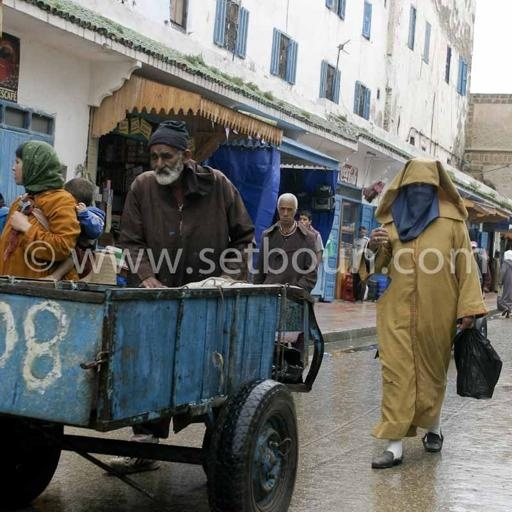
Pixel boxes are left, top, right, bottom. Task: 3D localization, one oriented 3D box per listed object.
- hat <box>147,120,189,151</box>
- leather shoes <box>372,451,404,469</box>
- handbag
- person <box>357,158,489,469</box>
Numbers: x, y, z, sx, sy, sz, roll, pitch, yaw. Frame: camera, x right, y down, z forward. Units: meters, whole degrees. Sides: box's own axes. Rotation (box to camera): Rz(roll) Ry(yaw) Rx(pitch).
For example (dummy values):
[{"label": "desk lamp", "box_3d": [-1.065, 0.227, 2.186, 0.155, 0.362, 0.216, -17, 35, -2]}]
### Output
[{"label": "hat", "box_3d": [-0.480, -0.667, 3.733, 0.155, 0.192, 0.181, 7, -15, -14]}, {"label": "leather shoes", "box_3d": [0.845, 1.315, 4.325, 0.080, 0.107, 0.224, -4, -11, 40]}, {"label": "handbag", "box_3d": [1.513, 0.723, 4.539, 0.309, 0.505, 0.222, 2, 0, 19]}, {"label": "person", "box_3d": [1.141, 0.338, 4.545, 0.730, 2.074, 0.670, 1, 0, 4]}]
